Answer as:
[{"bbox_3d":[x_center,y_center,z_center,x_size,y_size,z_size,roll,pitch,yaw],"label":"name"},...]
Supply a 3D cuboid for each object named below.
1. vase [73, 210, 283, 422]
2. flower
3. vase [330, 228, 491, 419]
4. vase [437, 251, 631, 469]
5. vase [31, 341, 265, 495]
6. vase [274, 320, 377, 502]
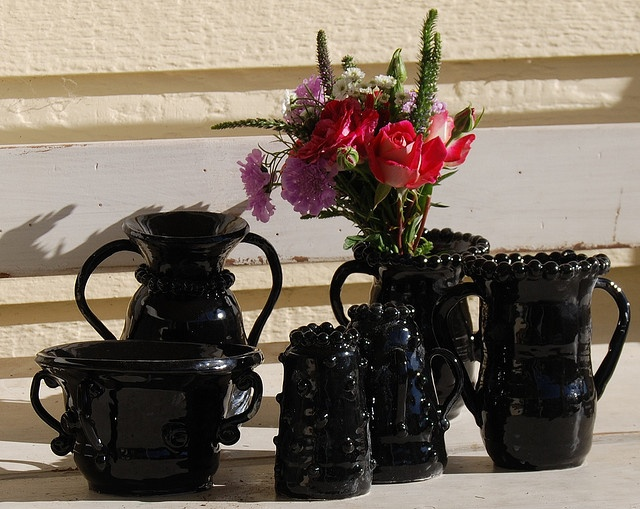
[{"bbox_3d":[-0.200,0.102,1.358,0.325,0.256,0.207,2,6,10],"label":"vase"},{"bbox_3d":[0.032,-0.165,1.291,0.346,0.334,0.218,-2,15,-12],"label":"flower"},{"bbox_3d":[0.137,0.069,1.419,0.363,0.278,0.257,-1,4,2],"label":"vase"},{"bbox_3d":[0.280,0.135,1.269,0.197,0.285,0.154,14,20,40],"label":"vase"},{"bbox_3d":[-0.224,0.215,1.236,0.312,0.151,0.266,0,-4,-8],"label":"vase"},{"bbox_3d":[0.004,0.196,1.175,0.123,0.217,0.091,-1,16,-9],"label":"vase"}]
